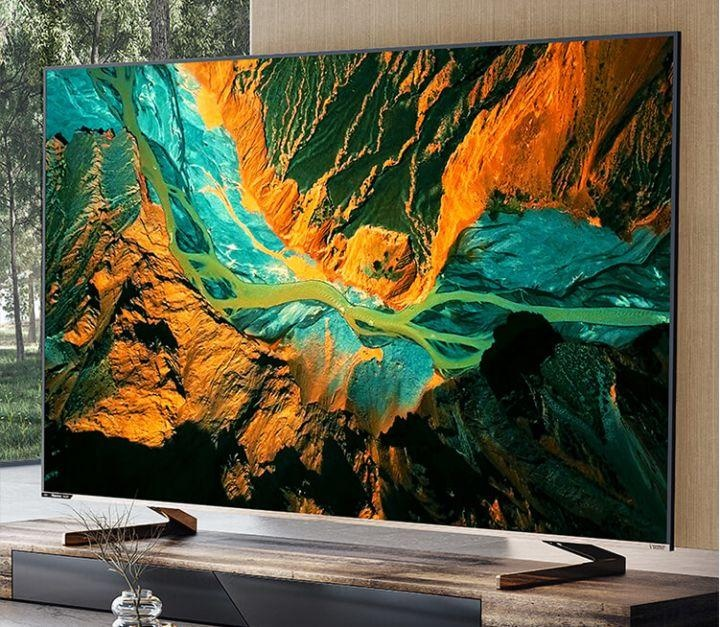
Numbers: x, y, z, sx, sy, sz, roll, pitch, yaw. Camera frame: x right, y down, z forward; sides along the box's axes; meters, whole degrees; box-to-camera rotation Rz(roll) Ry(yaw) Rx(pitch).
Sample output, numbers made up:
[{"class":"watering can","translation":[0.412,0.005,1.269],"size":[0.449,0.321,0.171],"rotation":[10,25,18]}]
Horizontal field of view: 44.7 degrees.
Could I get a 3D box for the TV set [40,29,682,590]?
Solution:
[{"class":"TV set","translation":[0.038,-0.024,3.024],"size":[1.783,1.332,0.031],"rotation":[2,0,22]}]
